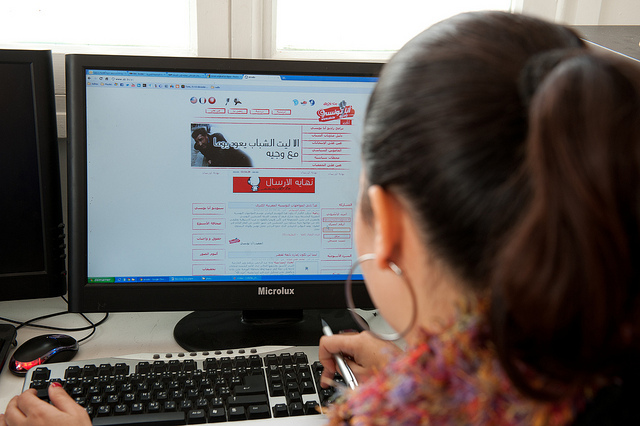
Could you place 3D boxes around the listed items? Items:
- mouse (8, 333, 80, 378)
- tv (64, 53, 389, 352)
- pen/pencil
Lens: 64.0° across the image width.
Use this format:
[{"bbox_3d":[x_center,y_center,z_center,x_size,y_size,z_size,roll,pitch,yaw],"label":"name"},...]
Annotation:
[{"bbox_3d":[-0.517,0.258,0.960,0.055,0.030,0.095,20,29,36],"label":"mouse"},{"bbox_3d":[-0.188,-0.034,0.985,0.596,0.433,0.178,0,5,-9],"label":"tv"},{"bbox_3d":[0.013,0.246,0.937,0.023,0.022,0.210,-27,38,-6],"label":"pen/pencil"}]
